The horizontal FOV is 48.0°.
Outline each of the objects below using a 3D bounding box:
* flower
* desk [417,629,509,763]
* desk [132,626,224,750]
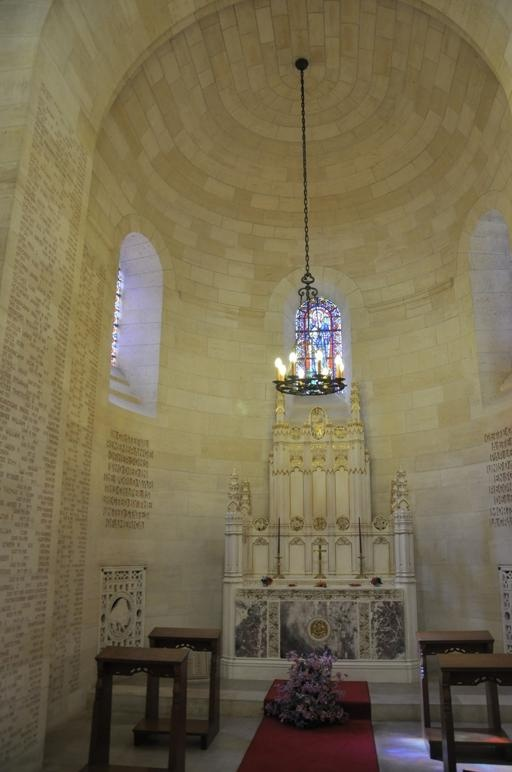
[{"bbox_3d":[0.433,2.887,5.458,0.534,0.548,0.702,14,-22,-39],"label":"flower"},{"bbox_3d":[1.776,2.693,4.937,0.647,0.874,1.231,-2,-13,8],"label":"desk"},{"bbox_3d":[-0.726,2.820,5.434,0.689,0.933,0.737,2,-21,-3],"label":"desk"}]
